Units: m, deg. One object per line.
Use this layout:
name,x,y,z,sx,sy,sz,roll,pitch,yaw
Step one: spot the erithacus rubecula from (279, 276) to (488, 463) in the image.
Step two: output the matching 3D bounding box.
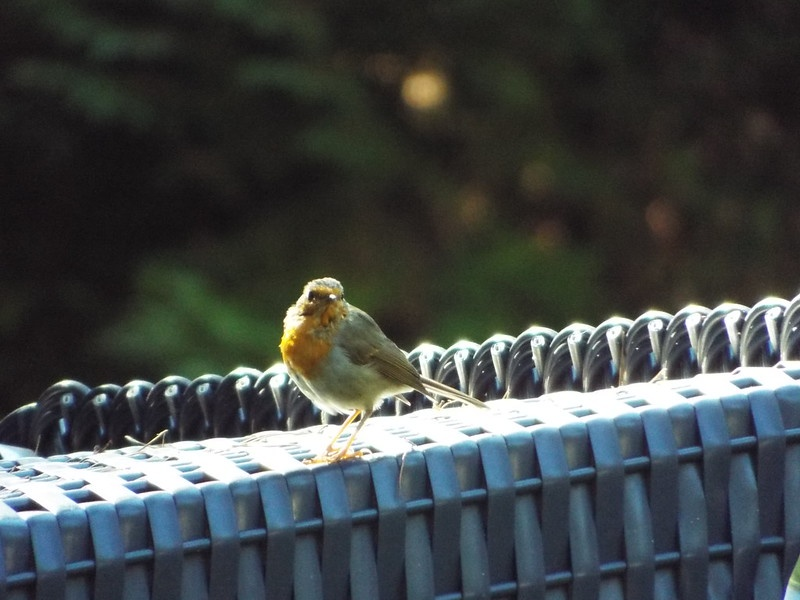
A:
erithacus rubecula,-0.084,0.253,6.351,0.953,0.655,0.262,5,-2,-36
